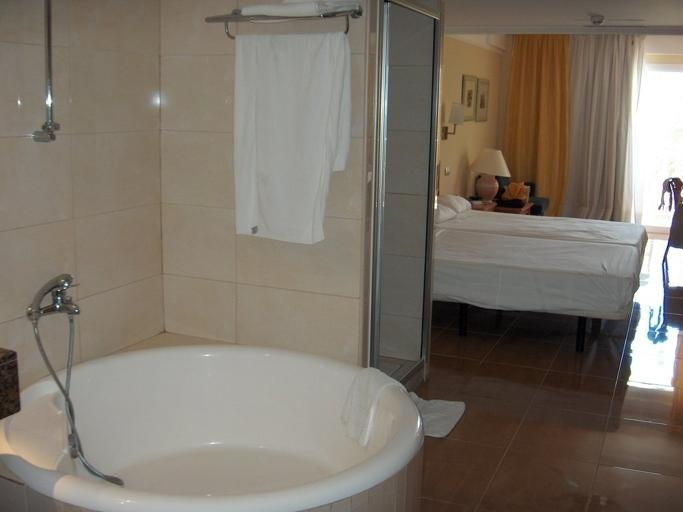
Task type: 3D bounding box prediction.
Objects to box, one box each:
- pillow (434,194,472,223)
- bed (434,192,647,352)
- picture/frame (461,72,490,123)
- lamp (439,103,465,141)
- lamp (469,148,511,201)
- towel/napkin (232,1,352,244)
[{"bbox_3d":[1.158,-0.483,5.816,0.321,0.130,0.566,23,33,28],"label":"pillow"},{"bbox_3d":[1.545,0.369,4.514,1.513,0.406,1.585,6,18,22],"label":"bed"},{"bbox_3d":[1.858,-2.172,7.722,0.021,0.609,1.105,8,16,30],"label":"picture/frame"},{"bbox_3d":[1.365,-1.630,6.811,0.185,0.458,0.293,-13,22,-41],"label":"lamp"},{"bbox_3d":[1.967,-1.081,7.557,0.642,0.776,0.675,6,19,23],"label":"lamp"},{"bbox_3d":[-0.263,-0.569,2.730,0.588,0.985,0.180,6,15,23],"label":"towel/napkin"}]
